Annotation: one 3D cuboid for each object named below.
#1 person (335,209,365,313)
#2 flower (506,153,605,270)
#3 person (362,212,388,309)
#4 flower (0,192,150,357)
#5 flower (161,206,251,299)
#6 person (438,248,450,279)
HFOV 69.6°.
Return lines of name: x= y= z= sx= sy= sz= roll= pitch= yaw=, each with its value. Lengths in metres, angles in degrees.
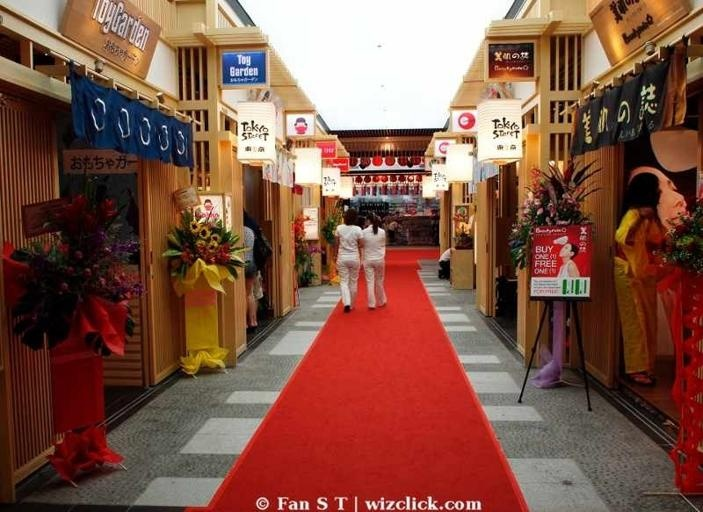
person: x=-0.044 y=0.035 z=8.991 sx=0.466 sy=1.774 sz=0.782 roll=-1 pitch=6 yaw=0
flower: x=2.052 y=-0.413 z=5.239 sx=0.745 sy=1.124 sz=0.514 roll=1 pitch=7 yaw=18
person: x=0.413 y=0.028 z=9.252 sx=0.407 sy=1.707 sz=1.023 roll=0 pitch=6 yaw=3
flower: x=-1.999 y=0.143 z=4.100 sx=1.142 sy=1.547 sz=1.054 roll=5 pitch=6 yaw=-12
flower: x=-1.801 y=-0.062 z=5.962 sx=0.844 sy=0.962 sz=0.887 roll=-2 pitch=1 yaw=37
person: x=2.404 y=0.174 z=13.106 sx=0.243 sy=0.830 sz=0.765 roll=0 pitch=7 yaw=8
